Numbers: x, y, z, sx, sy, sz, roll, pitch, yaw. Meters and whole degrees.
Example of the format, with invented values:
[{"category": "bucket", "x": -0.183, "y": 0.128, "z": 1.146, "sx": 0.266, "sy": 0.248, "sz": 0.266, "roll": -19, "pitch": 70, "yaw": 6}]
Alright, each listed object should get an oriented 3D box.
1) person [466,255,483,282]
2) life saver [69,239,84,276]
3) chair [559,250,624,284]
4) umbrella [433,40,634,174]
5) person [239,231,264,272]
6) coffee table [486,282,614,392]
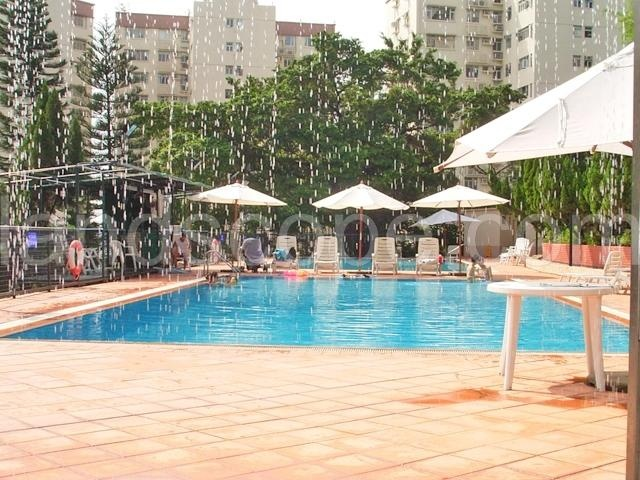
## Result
[{"category": "person", "x": 4.599, "y": 0.853, "z": 22.057, "sx": 0.381, "sy": 1.171, "sz": 0.343, "roll": -12, "pitch": 17, "yaw": -33}, {"category": "life saver", "x": -5.356, "y": 0.431, "z": 16.245, "sx": 0.312, "sy": 0.873, "sz": 1.150, "roll": -1, "pitch": 0, "yaw": -19}, {"category": "chair", "x": 7.529, "y": 0.736, "z": 20.522, "sx": 1.349, "sy": 0.872, "sz": 0.746, "roll": -1, "pitch": -2, "yaw": 43}, {"category": "umbrella", "x": 2.265, "y": -1.220, "z": 7.676, "sx": 1.779, "sy": 0.662, "sz": 1.804, "roll": -6, "pitch": 4, "yaw": -35}, {"category": "person", "x": -2.032, "y": 0.524, "z": 22.852, "sx": 0.779, "sy": 0.563, "sz": 1.379, "roll": -7, "pitch": 21, "yaw": -7}, {"category": "coffee table", "x": 2.417, "y": 1.061, "z": 8.008, "sx": 1.040, "sy": 0.940, "sz": 1.146, "roll": 1, "pitch": -5, "yaw": 2}]
